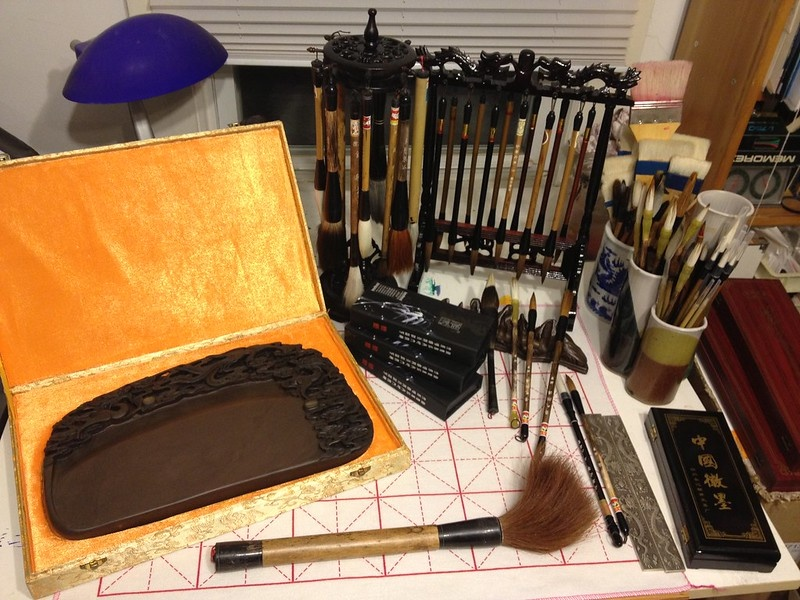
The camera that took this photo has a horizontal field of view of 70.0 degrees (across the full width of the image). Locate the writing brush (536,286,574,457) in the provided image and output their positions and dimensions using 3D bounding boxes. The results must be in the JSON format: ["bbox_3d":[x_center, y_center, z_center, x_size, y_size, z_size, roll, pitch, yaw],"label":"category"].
[{"bbox_3d":[0.368,0.182,1.359,0.035,0.446,0.035,12,24,19],"label":"writing brush"}]

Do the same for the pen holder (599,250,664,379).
[{"bbox_3d":[0.556,0.041,1.351,0.105,0.292,0.108,11,34,17],"label":"pen holder"}]

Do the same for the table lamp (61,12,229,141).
[{"bbox_3d":[-0.589,-0.505,1.432,0.308,0.252,0.311,2,40,-4],"label":"table lamp"}]

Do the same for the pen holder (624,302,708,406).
[{"bbox_3d":[0.600,0.133,1.307,0.121,0.206,0.116,12,15,-5],"label":"pen holder"}]

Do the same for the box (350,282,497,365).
[{"bbox_3d":[0.048,0.055,1.331,0.310,0.064,0.164,19,33,19],"label":"box"}]

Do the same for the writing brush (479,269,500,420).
[{"bbox_3d":[0.217,0.105,1.379,0.049,0.037,0.307,-3,73,11],"label":"writing brush"}]

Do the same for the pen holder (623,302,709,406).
[{"bbox_3d":[0.601,0.131,1.304,0.117,0.196,0.107,12,16,7],"label":"pen holder"}]

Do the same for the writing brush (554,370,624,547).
[{"bbox_3d":[0.394,0.338,1.221,0.034,0.025,0.365,7,45,-22],"label":"writing brush"}]

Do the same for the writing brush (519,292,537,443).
[{"bbox_3d":[0.304,0.155,1.320,0.043,0.036,0.414,2,47,14],"label":"writing brush"}]
